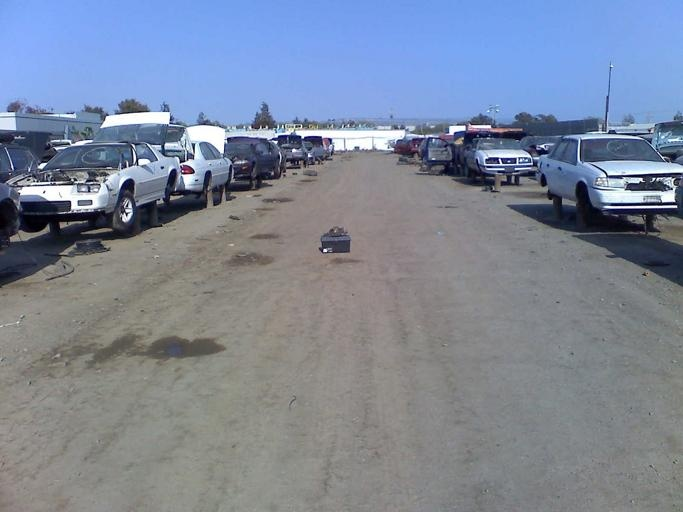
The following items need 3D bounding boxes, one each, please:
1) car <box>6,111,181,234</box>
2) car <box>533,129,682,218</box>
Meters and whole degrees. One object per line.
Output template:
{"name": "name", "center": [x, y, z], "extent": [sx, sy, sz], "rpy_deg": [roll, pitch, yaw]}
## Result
{"name": "car", "center": [-5.318, -1.671, 11.900], "extent": [1.782, 1.729, 3.712], "rpy_deg": [-1, 10, 9]}
{"name": "car", "center": [6.248, -1.751, 12.108], "extent": [1.852, 2.018, 3.225], "rpy_deg": [-1, 16, -2]}
